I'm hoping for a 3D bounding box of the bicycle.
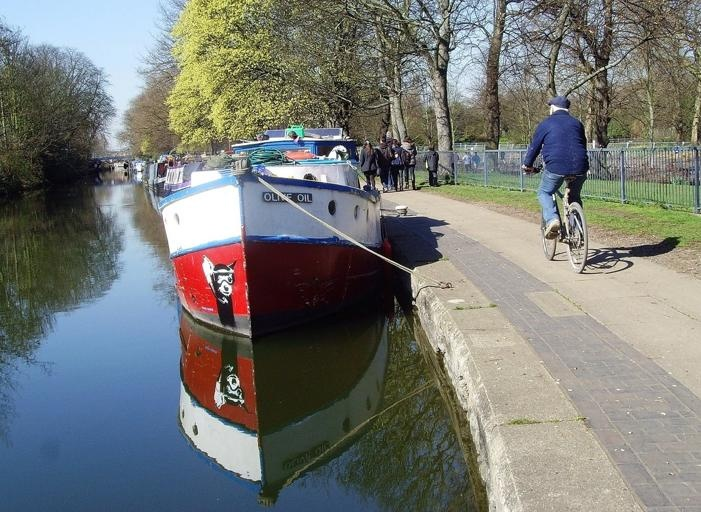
[{"bbox_3d":[3.307,-0.426,8.617,0.908,1.211,1.924,-5,6,2],"label":"bicycle"}]

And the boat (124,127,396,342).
[{"bbox_3d":[-0.990,-0.522,10.365,3.065,2.873,4.821,5,12,28],"label":"boat"}]

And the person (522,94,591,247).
[{"bbox_3d":[3.213,-1.319,8.504,1.161,2.150,1.166,2,-3,-37],"label":"person"}]

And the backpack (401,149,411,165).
[{"bbox_3d":[2.290,-3.988,22.662,0.407,0.560,0.572,0,-19,-1],"label":"backpack"}]

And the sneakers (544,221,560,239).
[{"bbox_3d":[3.022,-0.390,8.212,0.122,0.163,0.353,1,-27,1],"label":"sneakers"}]
